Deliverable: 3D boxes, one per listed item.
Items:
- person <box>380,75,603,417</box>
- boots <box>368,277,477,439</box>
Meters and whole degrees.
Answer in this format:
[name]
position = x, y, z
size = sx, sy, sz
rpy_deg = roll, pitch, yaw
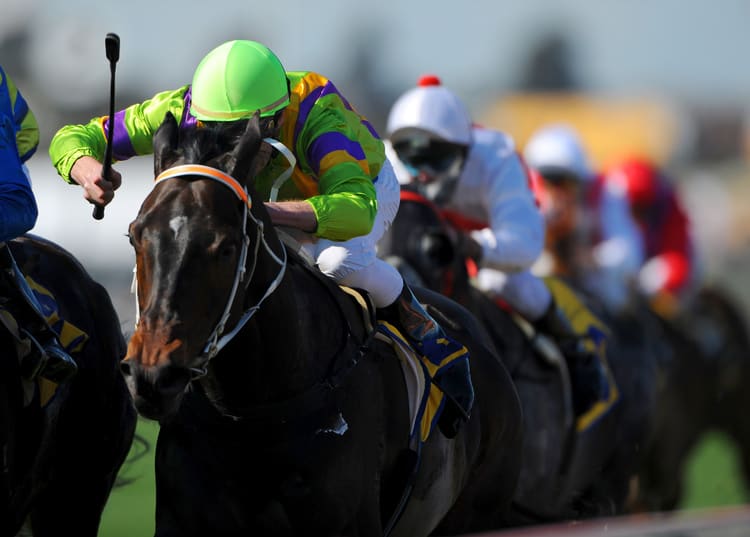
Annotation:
[person]
position = 0.505, -0.095, 4.410
size = 0.537, 1.379, 0.472
rpy_deg = -8, 28, 38
[boots]
position = 0.197, 0.281, 3.581
size = 0.209, 0.521, 0.319
rpy_deg = -39, 32, -1
